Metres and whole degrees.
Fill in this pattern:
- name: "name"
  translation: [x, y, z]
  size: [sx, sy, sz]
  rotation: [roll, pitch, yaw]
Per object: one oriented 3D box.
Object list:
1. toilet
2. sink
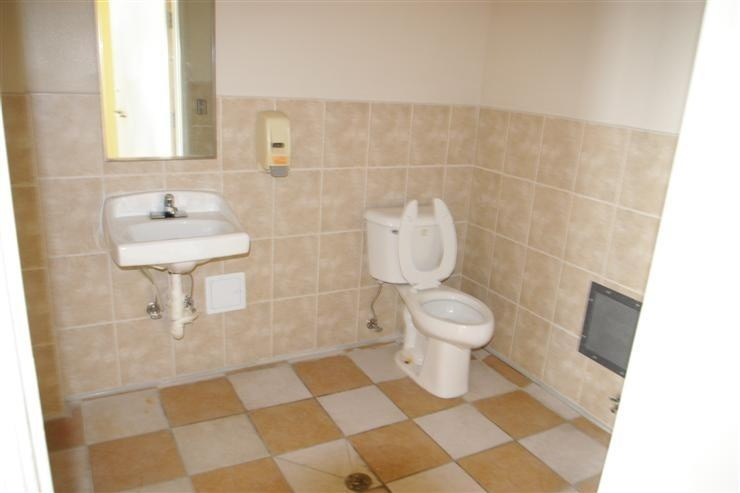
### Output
- name: "toilet"
  translation: [0.333, 0.263, 3.155]
  size: [0.506, 1.042, 0.879]
  rotation: [-8, 23, -19]
- name: "sink"
  translation: [-0.937, -0.039, 2.640]
  size: [0.588, 0.158, 0.401]
  rotation: [-9, 22, -23]
